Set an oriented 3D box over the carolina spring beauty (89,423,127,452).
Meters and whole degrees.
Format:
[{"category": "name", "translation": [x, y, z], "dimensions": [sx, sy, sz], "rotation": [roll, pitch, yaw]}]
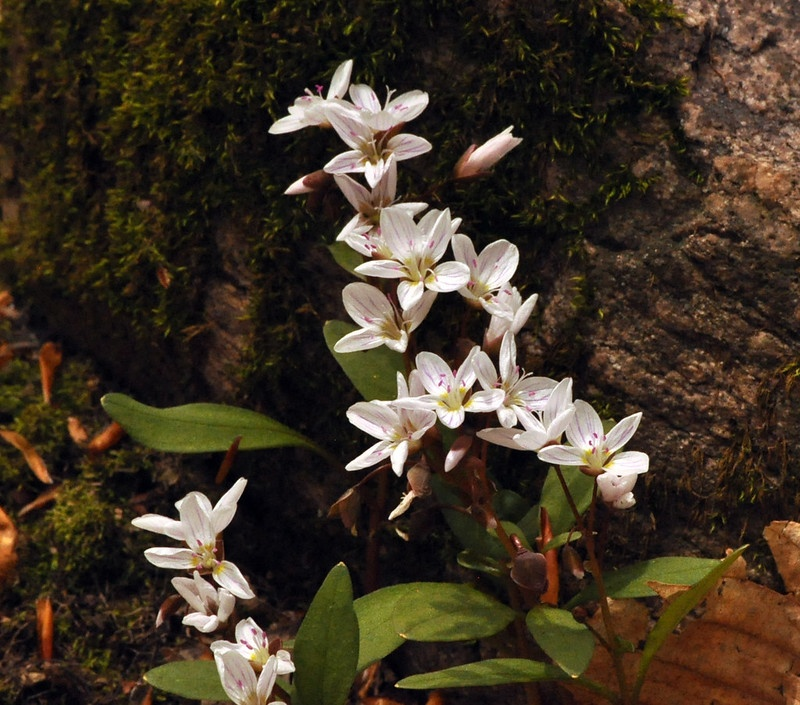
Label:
[{"category": "carolina spring beauty", "translation": [-1.235, 0.361, 4.448], "dimensions": [0.156, 0.051, 0.080], "rotation": [-40, 55, -3]}]
